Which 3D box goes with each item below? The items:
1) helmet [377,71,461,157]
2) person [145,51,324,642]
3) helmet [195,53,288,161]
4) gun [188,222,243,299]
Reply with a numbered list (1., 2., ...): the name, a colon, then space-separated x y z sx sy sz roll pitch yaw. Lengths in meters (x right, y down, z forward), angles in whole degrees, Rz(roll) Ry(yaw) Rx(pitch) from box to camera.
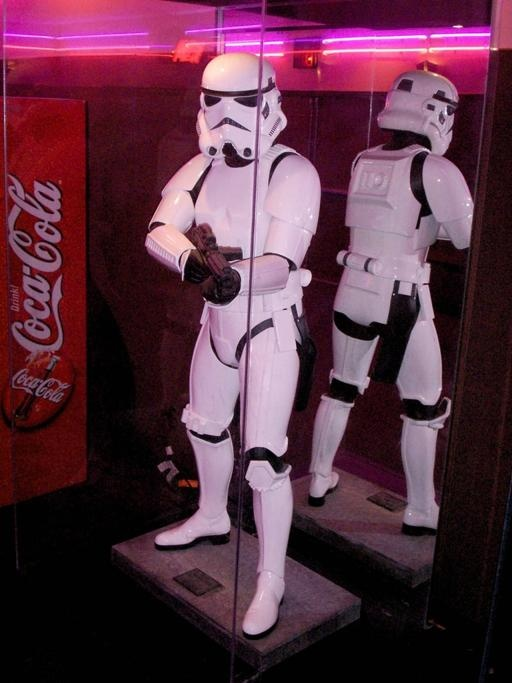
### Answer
1. helmet: 0.505 -0.731 1.881 0.266 0.240 0.204 7 19 -4
2. person: 0.000 0.031 1.643 0.403 1.513 0.602 -12 18 -32
3. helmet: -0.049 -0.615 1.497 0.255 0.224 0.259 11 32 19
4. gun: -0.104 -0.167 1.496 0.104 0.078 0.220 18 17 -18
